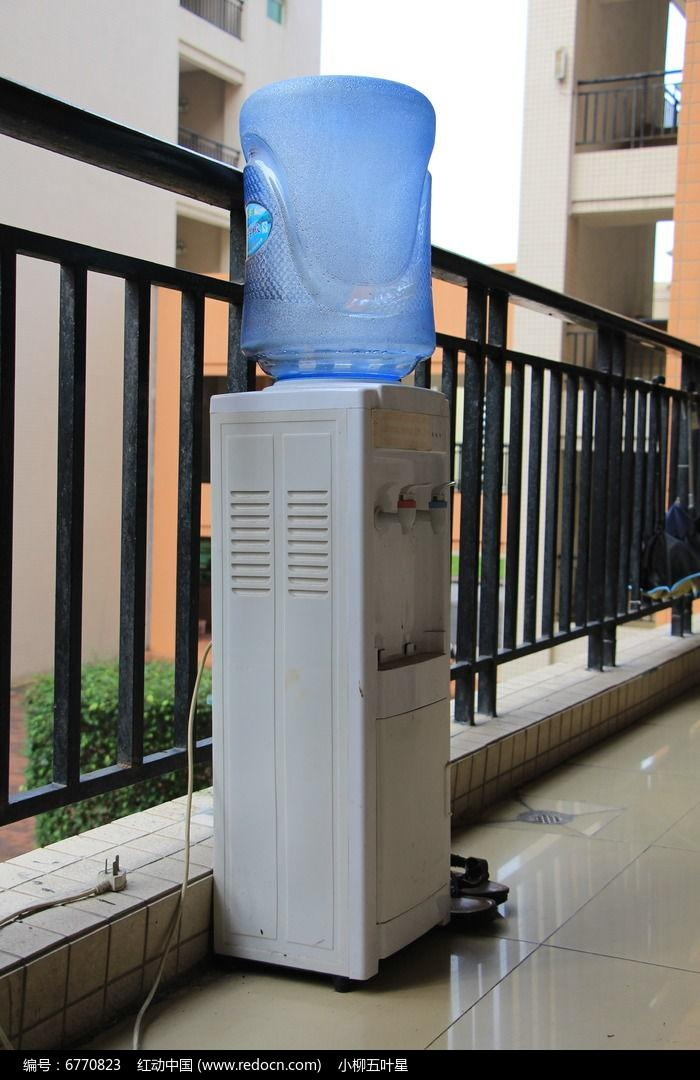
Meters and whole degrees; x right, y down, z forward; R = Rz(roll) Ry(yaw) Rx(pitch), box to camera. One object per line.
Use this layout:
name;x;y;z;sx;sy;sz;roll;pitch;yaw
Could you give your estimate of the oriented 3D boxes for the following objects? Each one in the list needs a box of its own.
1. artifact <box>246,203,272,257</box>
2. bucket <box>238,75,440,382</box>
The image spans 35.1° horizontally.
artifact;-0.120;-0.414;1.483;0.042;0.066;0.013;1;2;42
bucket;0.017;-0.394;1.688;0.300;0.575;0.360;1;3;28
